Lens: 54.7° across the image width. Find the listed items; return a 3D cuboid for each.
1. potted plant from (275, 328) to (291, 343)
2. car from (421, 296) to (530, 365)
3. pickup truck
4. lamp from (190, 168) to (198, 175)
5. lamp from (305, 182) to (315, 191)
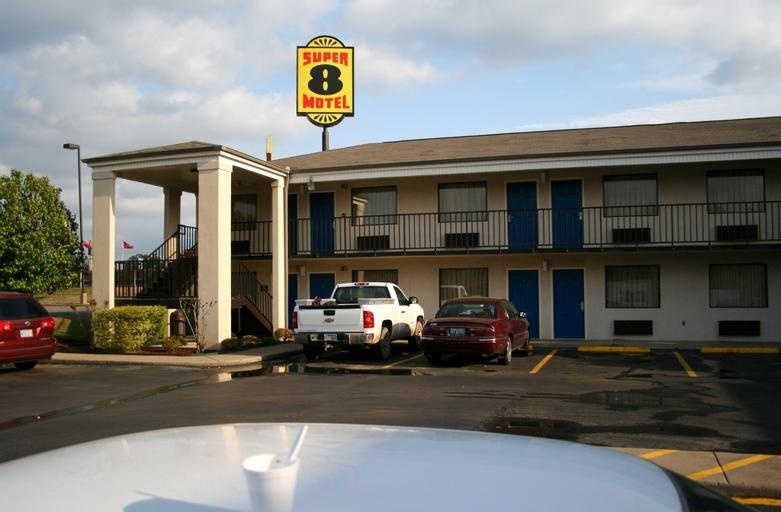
[{"bbox_3d":[-3.535,2.651,25.180,0.500,0.404,0.371,-2,4,-38],"label":"potted plant"},{"bbox_3d":[2.504,2.101,20.871,1.983,1.816,3.086,6,7,44],"label":"car"},{"bbox_3d":[-0.633,1.832,22.546,2.040,1.461,3.772,-1,0,22],"label":"pickup truck"},{"bbox_3d":[-6.520,-2.784,25.170,0.224,0.194,2.130,0,5,-14],"label":"lamp"},{"bbox_3d":[-2.936,-2.536,27.881,0.264,0.191,0.279,-2,-1,24],"label":"lamp"}]
